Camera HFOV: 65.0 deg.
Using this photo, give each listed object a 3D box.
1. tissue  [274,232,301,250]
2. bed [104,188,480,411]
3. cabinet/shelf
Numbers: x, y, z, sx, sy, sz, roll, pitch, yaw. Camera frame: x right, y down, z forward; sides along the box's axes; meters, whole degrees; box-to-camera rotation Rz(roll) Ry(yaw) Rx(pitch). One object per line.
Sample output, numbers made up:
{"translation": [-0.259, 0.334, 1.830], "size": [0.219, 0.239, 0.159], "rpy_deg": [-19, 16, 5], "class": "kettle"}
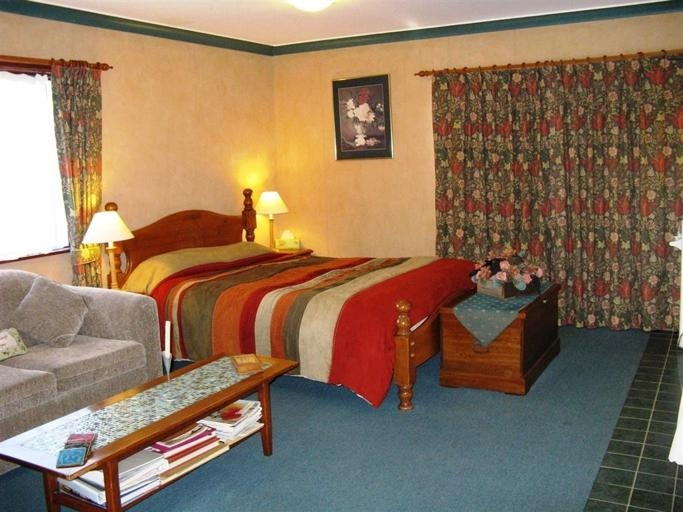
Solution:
{"translation": [-0.691, -0.196, 6.918], "size": [0.287, 0.169, 0.273], "rpy_deg": [-4, 7, -42], "class": "tissue "}
{"translation": [-0.565, 0.342, 5.060], "size": [2.683, 1.328, 2.134], "rpy_deg": [4, 16, 23], "class": "bed"}
{"translation": [1.352, 0.926, 4.664], "size": [0.772, 0.649, 1.375], "rpy_deg": [3, 10, 31], "class": "cabinet/shelf"}
